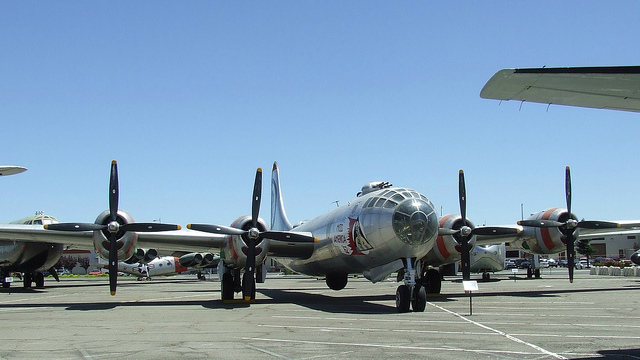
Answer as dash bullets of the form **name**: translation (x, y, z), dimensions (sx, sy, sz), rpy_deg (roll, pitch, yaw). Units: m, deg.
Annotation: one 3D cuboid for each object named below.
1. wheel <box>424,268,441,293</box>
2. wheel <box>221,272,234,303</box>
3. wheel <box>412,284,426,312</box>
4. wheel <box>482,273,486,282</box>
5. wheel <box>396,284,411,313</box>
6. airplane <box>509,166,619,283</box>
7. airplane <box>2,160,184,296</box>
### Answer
- **wheel**: translation (6.579, 5.920, 30.085), dimensions (0.717, 1.467, 1.619), rpy_deg (-2, 4, -4)
- **wheel**: translation (-5.131, 6.010, 28.909), dimensions (0.635, 1.465, 1.608), rpy_deg (-1, -12, -5)
- **wheel**: translation (4.729, 5.664, 24.629), dimensions (0.547, 1.248, 1.380), rpy_deg (1, -4, -3)
- **wheel**: translation (15.521, 9.223, 48.666), dimensions (0.251, 0.715, 0.309), rpy_deg (-9, -31, 30)
- **wheel**: translation (4.061, 5.692, 24.727), dimensions (0.668, 1.255, 0.514), rpy_deg (-3, -8, 7)
- **airplane**: translation (14.463, 2.750, 31.617), dimensions (5.209, 6.711, 3.242), rpy_deg (-6, -8, 27)
- **airplane**: translation (-13.070, 2.766, 29.312), dimensions (5.663, 6.989, 12.007), rpy_deg (5, -10, -43)
